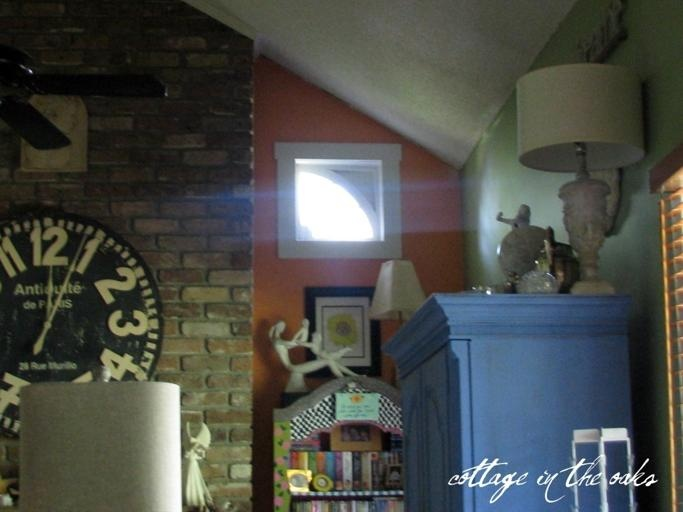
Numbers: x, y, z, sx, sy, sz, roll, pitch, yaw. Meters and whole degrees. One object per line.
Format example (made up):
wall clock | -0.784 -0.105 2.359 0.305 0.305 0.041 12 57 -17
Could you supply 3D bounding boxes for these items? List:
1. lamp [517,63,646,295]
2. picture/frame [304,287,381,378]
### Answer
lamp | 0.873 -0.252 4.573 0.457 0.876 0.416 -1 -16 8
picture/frame | -0.004 0.436 6.759 0.535 0.607 0.030 0 -14 -4
